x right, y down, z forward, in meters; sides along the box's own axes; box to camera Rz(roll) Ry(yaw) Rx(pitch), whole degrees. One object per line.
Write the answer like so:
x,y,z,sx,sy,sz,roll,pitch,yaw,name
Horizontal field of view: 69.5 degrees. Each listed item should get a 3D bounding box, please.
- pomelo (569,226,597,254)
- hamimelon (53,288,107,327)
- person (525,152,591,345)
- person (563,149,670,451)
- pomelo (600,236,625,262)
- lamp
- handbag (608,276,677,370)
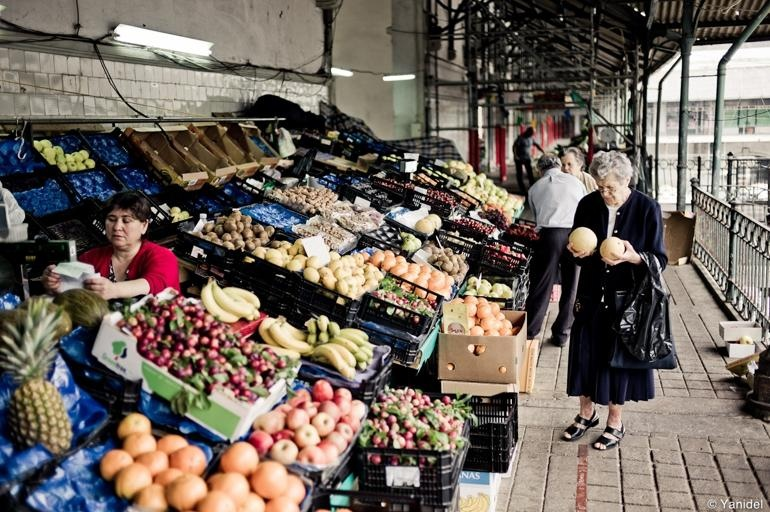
1.659,-0.132,4.637,0.234,0.210,0.166,6,18,17,pomelo
-1.732,0.293,3.186,0.248,0.236,0.262,13,-11,-26,hamimelon
2.066,-0.107,6.865,0.845,2.385,0.734,1,-8,-6,person
1.926,0.413,4.720,0.837,2.533,0.878,-11,13,-43,person
1.787,-0.048,4.435,0.176,0.190,0.175,2,-18,2,pomelo
-2.756,-2.707,6.974,0.847,0.251,1.656,7,19,17,lamp
2.129,0.585,4.540,0.525,0.809,0.166,0,16,-2,handbag
